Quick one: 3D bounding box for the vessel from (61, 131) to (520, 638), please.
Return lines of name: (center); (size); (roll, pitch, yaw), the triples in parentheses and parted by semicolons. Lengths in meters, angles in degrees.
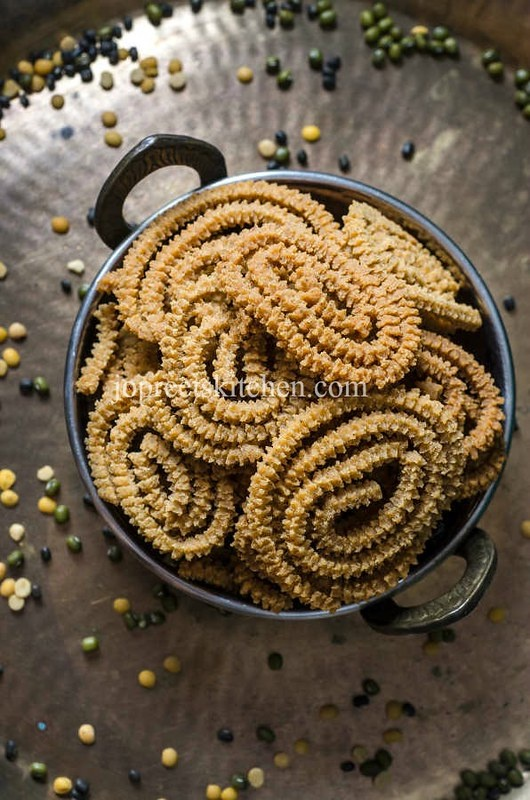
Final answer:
vessel: (0.057, -0.035, 1.270); (0.556, 0.239, 0.663); (-35, 94, -9)
